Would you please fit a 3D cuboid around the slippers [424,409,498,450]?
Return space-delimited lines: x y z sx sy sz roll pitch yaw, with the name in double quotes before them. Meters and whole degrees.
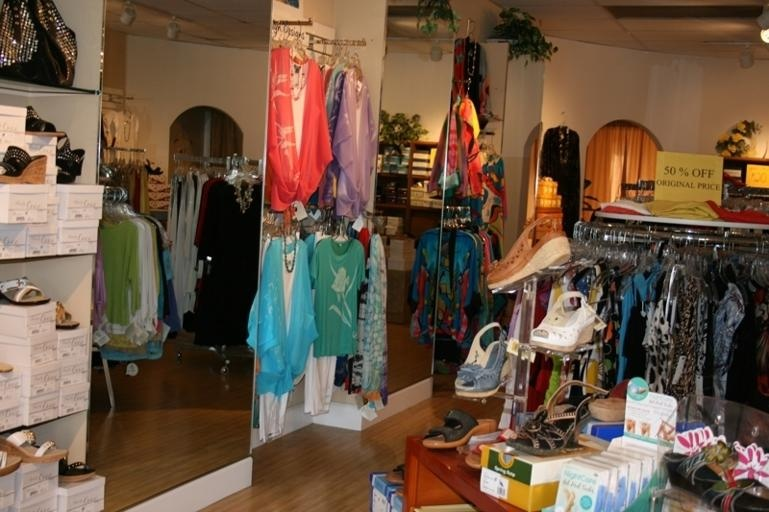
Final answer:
"slippers" 0.326 0.725 2.365 0.291 0.128 0.143 -3 1 -23

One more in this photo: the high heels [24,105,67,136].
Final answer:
"high heels" -1.610 -0.641 2.679 0.344 0.137 0.108 6 8 41

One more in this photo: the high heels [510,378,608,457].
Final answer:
"high heels" 0.656 0.576 2.118 0.170 0.170 0.434 6 8 35

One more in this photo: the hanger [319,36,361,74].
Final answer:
"hanger" -0.327 -1.629 4.483 0.370 0.344 0.537 1 7 -3

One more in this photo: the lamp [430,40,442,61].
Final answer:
"lamp" 0.475 -1.871 5.088 0.110 0.166 0.041 -4 17 -28

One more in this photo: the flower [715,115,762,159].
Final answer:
"flower" 5.481 -1.795 8.622 0.610 0.544 0.250 0 6 -5

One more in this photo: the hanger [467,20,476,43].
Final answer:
"hanger" 0.936 -2.434 6.039 0.058 0.212 0.198 7 18 5

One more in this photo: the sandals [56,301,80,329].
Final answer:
"sandals" -1.569 0.308 2.825 0.151 0.119 0.066 3 3 27

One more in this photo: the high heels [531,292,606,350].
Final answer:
"high heels" 0.834 0.234 2.458 0.169 0.211 0.502 7 14 28

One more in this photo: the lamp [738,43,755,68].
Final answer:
"lamp" 5.311 -2.896 8.176 0.167 0.303 0.703 5 8 32

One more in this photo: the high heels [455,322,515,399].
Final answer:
"high heels" 0.472 0.517 2.642 0.182 0.197 0.461 5 34 31
